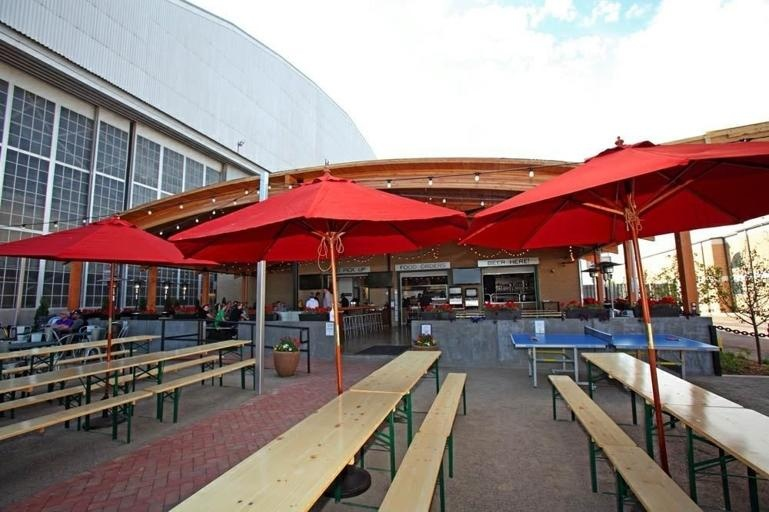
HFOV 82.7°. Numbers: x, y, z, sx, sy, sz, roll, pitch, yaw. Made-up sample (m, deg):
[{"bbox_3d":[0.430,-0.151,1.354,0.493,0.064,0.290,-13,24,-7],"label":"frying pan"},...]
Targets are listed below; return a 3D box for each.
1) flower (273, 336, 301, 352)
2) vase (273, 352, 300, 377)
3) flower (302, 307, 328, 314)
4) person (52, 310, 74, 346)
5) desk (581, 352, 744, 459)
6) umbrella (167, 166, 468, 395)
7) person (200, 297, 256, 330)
[{"bbox_3d":[-2.792,2.575,12.571,0.702,0.357,0.663,3,-5,-34],"label":"flower"},{"bbox_3d":[-2.714,3.042,12.377,0.803,0.560,0.701,1,-9,11],"label":"vase"},{"bbox_3d":[-2.475,2.032,16.092,0.600,0.155,0.445,-1,-4,16],"label":"flower"},{"bbox_3d":[-10.896,2.481,14.851,0.393,0.868,0.961,10,0,-30],"label":"person"},{"bbox_3d":[4.527,2.530,8.409,1.001,0.655,2.920,15,3,6],"label":"desk"},{"bbox_3d":[-1.006,0.471,7.484,4.685,3.850,2.295,-4,-7,5],"label":"umbrella"},{"bbox_3d":[-5.716,2.283,15.657,1.713,0.801,1.445,-10,2,22],"label":"person"}]
